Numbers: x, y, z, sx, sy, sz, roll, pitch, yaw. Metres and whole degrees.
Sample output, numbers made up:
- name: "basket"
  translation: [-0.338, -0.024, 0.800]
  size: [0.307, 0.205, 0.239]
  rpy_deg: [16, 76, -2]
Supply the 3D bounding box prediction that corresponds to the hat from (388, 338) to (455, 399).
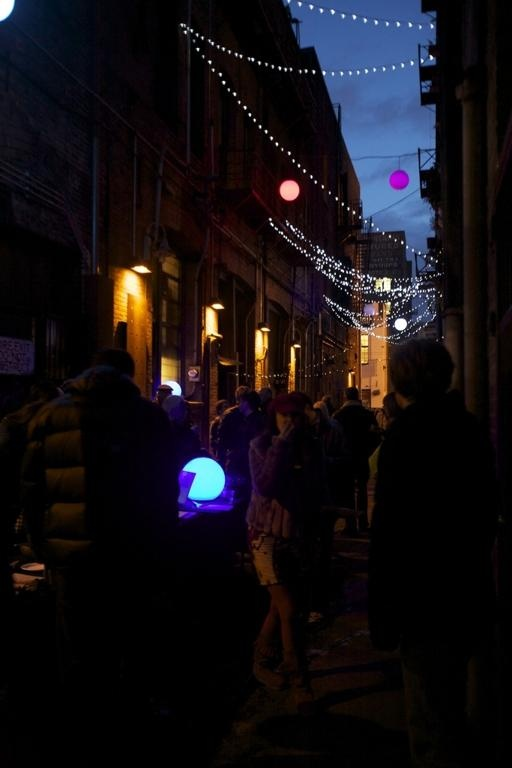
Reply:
- name: "hat"
  translation: [0.664, -0.086, 3.549]
  size: [0.155, 0.315, 0.255]
  rpy_deg: [1, 6, 8]
